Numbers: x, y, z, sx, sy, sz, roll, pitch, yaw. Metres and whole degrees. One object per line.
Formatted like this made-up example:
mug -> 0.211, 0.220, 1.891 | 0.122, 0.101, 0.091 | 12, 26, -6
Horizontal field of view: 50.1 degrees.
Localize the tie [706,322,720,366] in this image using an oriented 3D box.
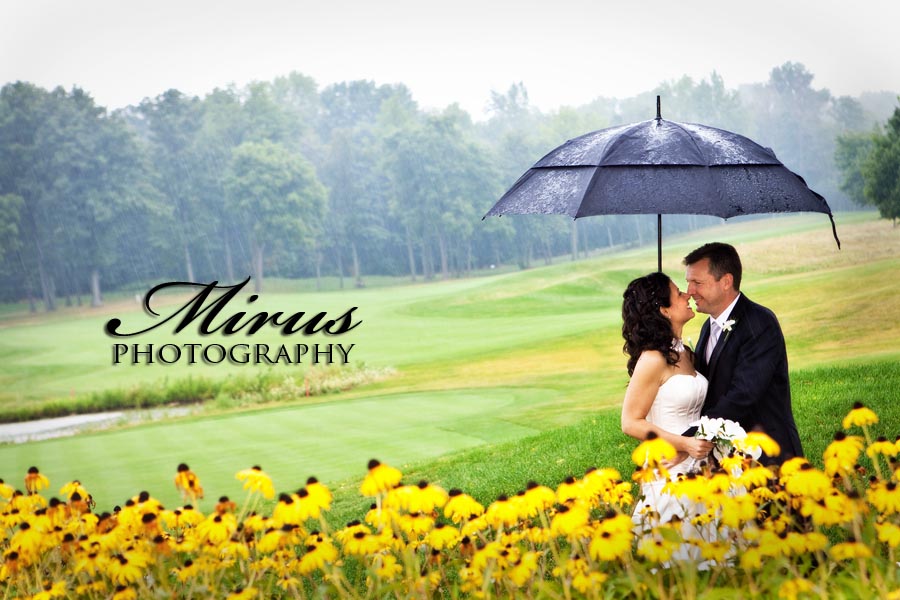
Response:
tie -> 2.772, 0.438, 10.172 | 0.091, 0.341, 0.272 | 15, 22, 15
